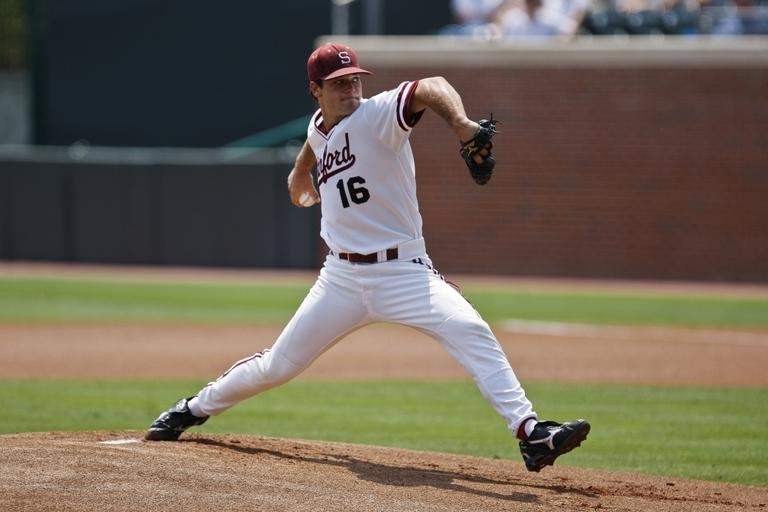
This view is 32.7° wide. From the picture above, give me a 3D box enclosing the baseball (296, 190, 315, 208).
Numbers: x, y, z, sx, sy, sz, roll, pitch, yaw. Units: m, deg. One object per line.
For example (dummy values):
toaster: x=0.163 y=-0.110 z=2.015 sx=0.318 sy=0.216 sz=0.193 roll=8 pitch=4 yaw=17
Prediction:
baseball: x=-0.967 y=-0.673 z=16.042 sx=0.181 sy=0.098 sz=0.170 roll=-4 pitch=8 yaw=-21
